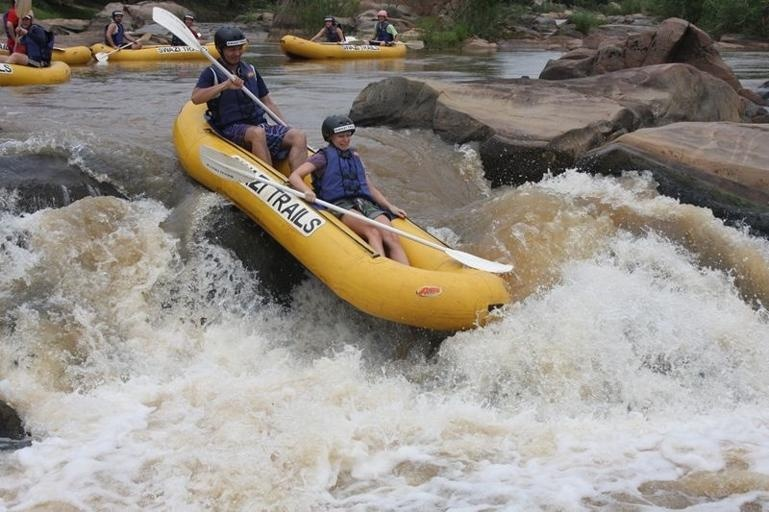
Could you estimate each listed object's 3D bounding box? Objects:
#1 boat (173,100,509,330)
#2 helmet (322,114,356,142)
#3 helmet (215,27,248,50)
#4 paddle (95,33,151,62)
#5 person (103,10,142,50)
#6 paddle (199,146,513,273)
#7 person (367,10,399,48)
[{"bbox_3d":[-0.411,-0.201,8.609,4.793,0.940,1.654,39,27,21],"label":"boat"},{"bbox_3d":[-0.555,-1.461,8.685,0.267,0.264,0.351,-15,37,-29],"label":"helmet"},{"bbox_3d":[-1.848,-2.628,9.068,0.329,0.254,0.251,15,39,18],"label":"helmet"},{"bbox_3d":[-6.512,-5.304,19.476,0.397,0.182,2.339,46,38,4],"label":"paddle"},{"bbox_3d":[-6.683,-5.746,19.404,0.920,0.966,0.735,-2,21,-21],"label":"person"},{"bbox_3d":[-0.399,-0.498,8.905,3.073,0.230,0.331,25,24,8],"label":"paddle"},{"bbox_3d":[-0.038,-6.692,22.700,0.800,1.206,0.735,1,10,14],"label":"person"}]
